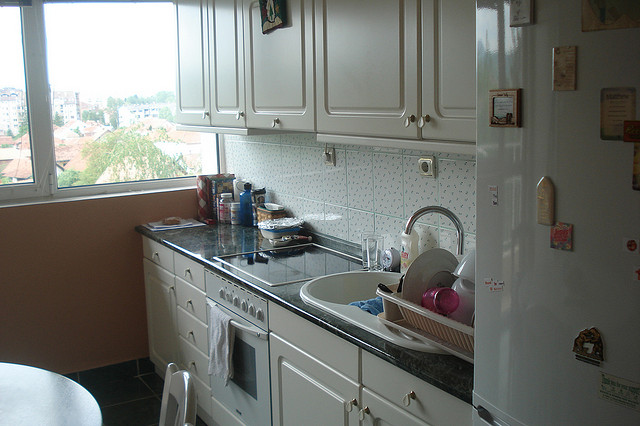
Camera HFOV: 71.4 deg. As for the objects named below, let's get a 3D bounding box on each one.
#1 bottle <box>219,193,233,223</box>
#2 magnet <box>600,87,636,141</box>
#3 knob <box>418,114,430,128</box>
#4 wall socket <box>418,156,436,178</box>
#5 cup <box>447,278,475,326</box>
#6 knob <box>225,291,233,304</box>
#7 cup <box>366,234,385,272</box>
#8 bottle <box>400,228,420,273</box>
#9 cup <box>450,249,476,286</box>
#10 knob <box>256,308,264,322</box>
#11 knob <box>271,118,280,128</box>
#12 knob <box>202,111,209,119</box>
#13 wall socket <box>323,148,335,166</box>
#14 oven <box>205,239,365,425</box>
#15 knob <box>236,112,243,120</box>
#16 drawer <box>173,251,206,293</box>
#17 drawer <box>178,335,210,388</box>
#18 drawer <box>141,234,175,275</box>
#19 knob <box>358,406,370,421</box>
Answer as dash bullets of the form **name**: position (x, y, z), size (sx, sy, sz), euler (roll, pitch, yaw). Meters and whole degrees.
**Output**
- **bottle**: position (-0.742, -0.041, 3.537), size (0.107, 0.227, 0.107), euler (-2, 11, 0)
- **magnet**: position (0.664, -0.223, 1.000), size (0.014, 0.115, 0.073), euler (-8, 13, -29)
- **knob**: position (0.415, -0.371, 1.788), size (0.018, 0.052, 0.055), euler (-9, 14, -33)
- **wall socket**: position (0.548, -0.241, 2.279), size (0.014, 0.114, 0.103), euler (-8, 11, -36)
- **cup**: position (0.453, 0.315, 1.556), size (0.118, 0.150, 0.111), euler (8, -10, 1)
- **knob**: position (-0.500, 0.466, 2.480), size (0.044, 0.066, 0.021), euler (5, 11, 44)
- **cup**: position (0.296, 0.194, 2.471), size (0.111, 0.188, 0.120), euler (3, 34, -2)
- **bottle**: position (0.455, 0.195, 2.259), size (0.085, 0.225, 0.109), euler (0, 11, 9)
- **cup**: position (0.466, 0.189, 1.559), size (0.112, 0.088, 0.102), euler (8, 4, -1)
- **knob**: position (-0.301, 0.514, 2.251), size (0.019, 0.058, 0.039), euler (-6, -6, -19)
- **knob**: position (-0.252, -0.516, 2.525), size (0.015, 0.049, 0.070), euler (-11, 15, -39)
- **knob**: position (-0.798, -0.691, 3.119), size (0.013, 0.048, 0.037), euler (0, 49, -35)
- **wall socket**: position (0.063, -0.362, 2.839), size (0.017, 0.133, 0.092), euler (-13, 19, -39)
- **oven**: position (-0.342, 0.639, 3.028), size (1.080, 1.549, 0.788), euler (-4, 8, -40)
- **knob**: position (-0.502, -0.613, 2.792), size (0.030, 0.044, 0.010), euler (30, 19, 34)
- **drawer**: position (-0.832, 0.367, 2.874), size (0.188, 0.143, 0.282), euler (-2, 17, -45)
- **drawer**: position (-0.830, 0.972, 2.966), size (0.202, 0.199, 0.313), euler (2, 12, -37)
- **drawer**: position (-1.174, 0.296, 3.266), size (0.223, 0.115, 0.324), euler (-6, 19, -42)
- **knob**: position (0.172, 0.792, 1.759), size (0.022, 0.036, 0.055), euler (5, 3, 13)
